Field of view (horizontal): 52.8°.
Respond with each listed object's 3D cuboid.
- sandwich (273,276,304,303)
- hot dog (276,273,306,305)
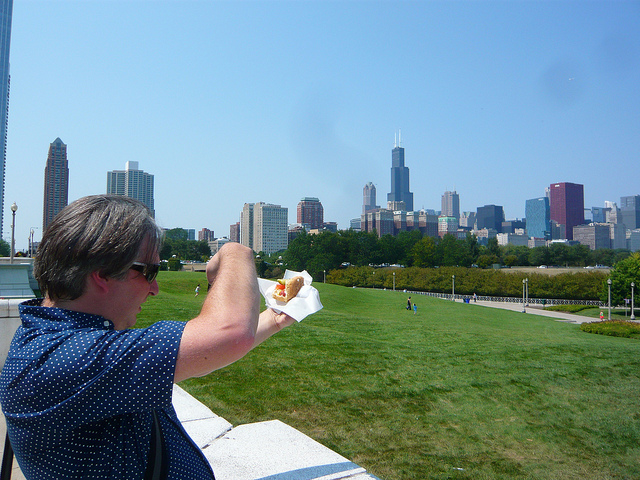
[{"bbox_3d":[-0.264,0.404,5.387,0.198,0.209,0.064,6,-29,34],"label":"sandwich"},{"bbox_3d":[-0.253,0.408,5.396,0.214,0.229,0.067,1,-29,34],"label":"hot dog"}]
